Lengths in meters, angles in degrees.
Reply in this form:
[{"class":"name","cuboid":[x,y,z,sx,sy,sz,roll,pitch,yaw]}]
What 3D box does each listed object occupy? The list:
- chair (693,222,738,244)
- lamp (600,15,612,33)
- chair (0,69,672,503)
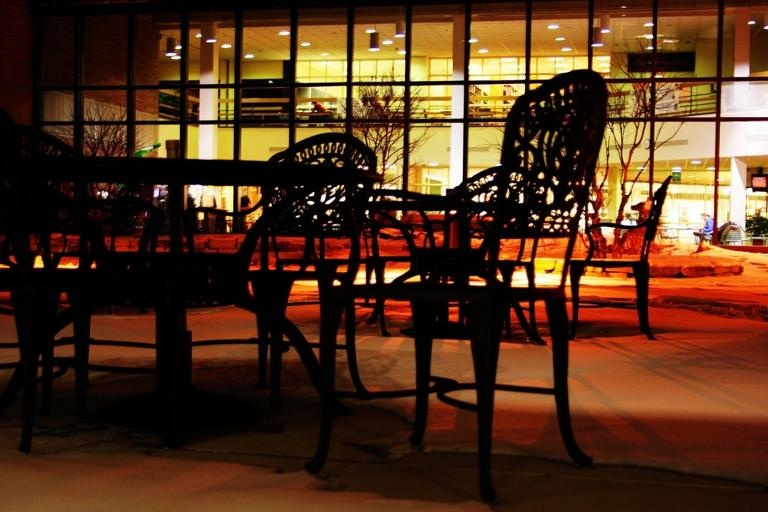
[{"class":"chair","cuboid":[6.494,-0.450,14.550,0.889,0.359,0.642,-1,0,16]},{"class":"lamp","cuboid":[3.762,-3.958,12.727,0.150,0.235,0.382,4,12,21]},{"class":"chair","cuboid":[-0.446,0.044,3.575,2.694,1.622,1.719,0,-2,24]}]
